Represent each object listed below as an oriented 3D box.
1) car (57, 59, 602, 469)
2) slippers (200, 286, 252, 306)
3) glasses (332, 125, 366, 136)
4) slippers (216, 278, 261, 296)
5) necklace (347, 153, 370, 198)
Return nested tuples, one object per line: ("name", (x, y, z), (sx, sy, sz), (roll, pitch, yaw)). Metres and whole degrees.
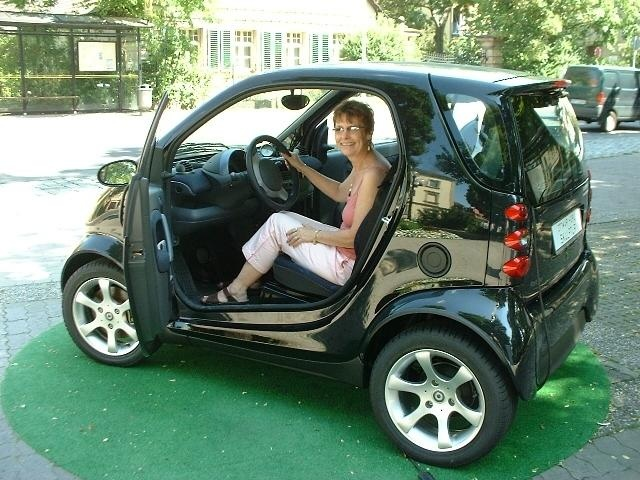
("car", (-0.191, -0.102, 3.860), (3.912, 1.754, 2.600), (13, 20, 29))
("slippers", (-0.668, 0.396, 3.654), (0.328, 0.095, 0.151), (4, 4, 13))
("glasses", (0.195, -0.704, 3.317), (0.109, 0.023, 0.102), (0, -2, 34))
("slippers", (-0.620, 0.369, 4.033), (0.404, 0.121, 0.124), (3, 10, -1))
("necklace", (0.277, -0.407, 3.371), (0.084, 0.223, 0.192), (19, -7, -38))
